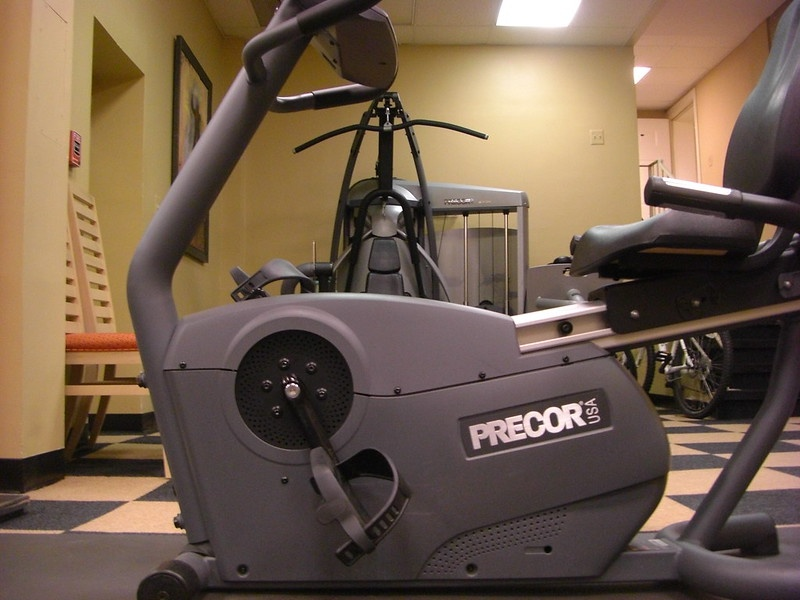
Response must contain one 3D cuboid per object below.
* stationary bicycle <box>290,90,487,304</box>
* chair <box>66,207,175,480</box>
[{"bbox_3d":[-0.080,-0.550,3.983,0.813,1.133,1.499,10,-2,1],"label":"stationary bicycle"},{"bbox_3d":[-1.278,0.113,2.973,0.457,1.140,0.444,4,2,-7],"label":"chair"}]
